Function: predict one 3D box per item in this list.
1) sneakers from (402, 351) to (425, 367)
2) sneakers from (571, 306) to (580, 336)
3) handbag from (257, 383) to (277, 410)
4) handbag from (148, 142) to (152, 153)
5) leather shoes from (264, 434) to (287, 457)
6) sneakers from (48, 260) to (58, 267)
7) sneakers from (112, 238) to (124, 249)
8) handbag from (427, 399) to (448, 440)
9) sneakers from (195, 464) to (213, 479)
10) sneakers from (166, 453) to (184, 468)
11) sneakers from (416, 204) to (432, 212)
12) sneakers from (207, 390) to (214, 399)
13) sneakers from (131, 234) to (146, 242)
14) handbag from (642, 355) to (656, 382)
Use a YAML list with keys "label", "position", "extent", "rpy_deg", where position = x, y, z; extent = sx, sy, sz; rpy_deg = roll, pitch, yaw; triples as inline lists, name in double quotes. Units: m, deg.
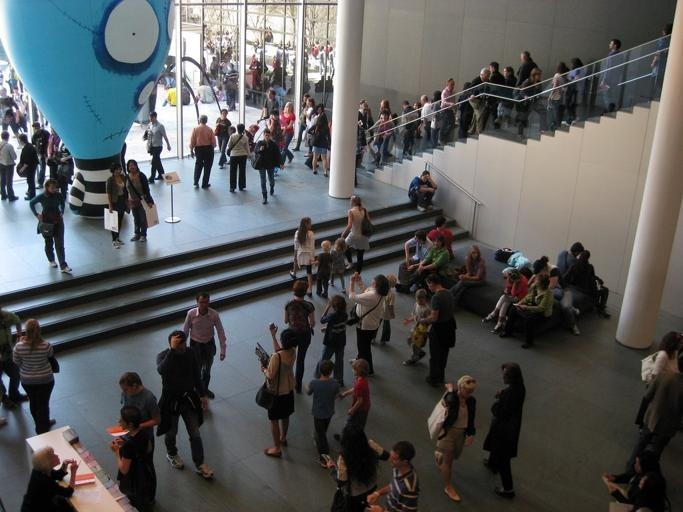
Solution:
- label: "sneakers"
  position: [1.384, 1.889, 9.052]
  extent: [0.445, 0.302, 0.299]
  rpy_deg: [-1, 19, -4]
- label: "sneakers"
  position: [5.169, 1.426, 10.555]
  extent: [0.147, 0.555, 0.216]
  rpy_deg: [-10, -30, 30]
- label: "handbag"
  position: [-1.005, 1.807, 6.203]
  extent: [0.211, 0.314, 0.125]
  rpy_deg: [7, 19, 19]
- label: "handbag"
  position: [-5.746, -3.254, 14.335]
  extent: [0.169, 0.266, 0.081]
  rpy_deg: [4, 1, 36]
- label: "leather shoes"
  position: [-0.906, 2.725, 6.901]
  extent: [0.383, 0.306, 0.152]
  rpy_deg: [8, 31, 2]
- label: "sneakers"
  position: [-6.106, 0.143, 10.079]
  extent: [0.084, 0.093, 0.218]
  rpy_deg: [-21, 33, -39]
- label: "sneakers"
  position: [-5.217, -0.319, 11.085]
  extent: [0.173, 0.094, 0.238]
  rpy_deg: [-23, 39, -35]
- label: "handbag"
  position: [1.228, 2.097, 6.117]
  extent: [0.190, 0.643, 0.359]
  rpy_deg: [1, 18, 4]
- label: "sneakers"
  position: [-1.848, 2.838, 6.410]
  extent: [0.259, 0.139, 0.131]
  rpy_deg: [19, 31, 38]
- label: "sneakers"
  position: [-2.258, 2.788, 6.476]
  extent: [0.120, 0.131, 0.268]
  rpy_deg: [-18, 35, -39]
- label: "sneakers"
  position: [2.532, -1.471, 14.653]
  extent: [0.496, 0.216, 0.178]
  rpy_deg: [-2, 32, 3]
- label: "sneakers"
  position: [-2.148, 2.276, 7.850]
  extent: [0.157, 0.119, 0.062]
  rpy_deg: [18, 59, 24]
- label: "sneakers"
  position: [-4.837, -0.432, 11.421]
  extent: [0.369, 0.176, 0.144]
  rpy_deg: [2, 25, -18]
- label: "handbag"
  position: [4.425, 1.595, 6.869]
  extent: [0.126, 0.379, 0.482]
  rpy_deg: [11, 22, 31]
